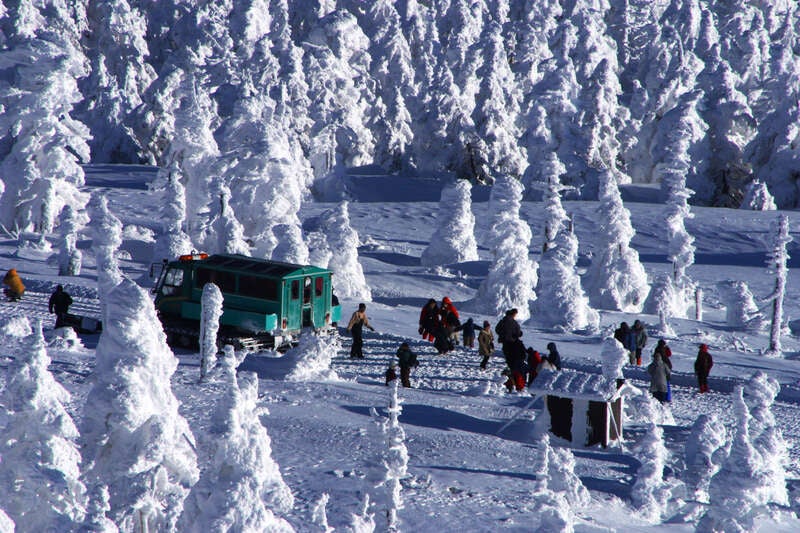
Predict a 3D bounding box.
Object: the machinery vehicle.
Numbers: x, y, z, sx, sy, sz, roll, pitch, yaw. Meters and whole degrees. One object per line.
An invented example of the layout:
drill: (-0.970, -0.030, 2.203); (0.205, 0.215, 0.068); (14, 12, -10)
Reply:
machinery vehicle: (-10.893, 2.744, 101.955); (9.708, 4.996, 6.301); (9, 11, 24)

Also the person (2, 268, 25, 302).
person: (-27.008, 1.368, 105.047); (1.485, 2.226, 1.156); (-2, 1, -7)
